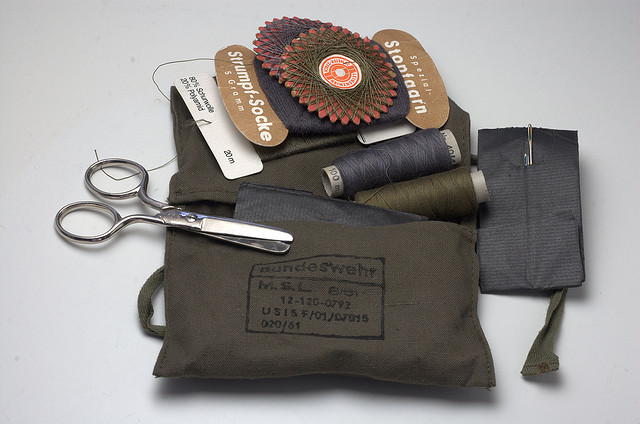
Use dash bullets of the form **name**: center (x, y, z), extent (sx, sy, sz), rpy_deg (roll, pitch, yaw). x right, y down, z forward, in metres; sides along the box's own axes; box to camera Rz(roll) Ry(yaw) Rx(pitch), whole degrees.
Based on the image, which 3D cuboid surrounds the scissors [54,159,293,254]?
- **scissors**: center (-0.543, 0.029, 2.686), extent (0.819, 0.404, 0.086), rpy_deg (13, -31, 16)

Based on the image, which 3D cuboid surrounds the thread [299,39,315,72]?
- **thread**: center (-0.055, -0.617, 2.882), extent (0.004, 0.155, 0.016), rpy_deg (-21, -12, -38)
